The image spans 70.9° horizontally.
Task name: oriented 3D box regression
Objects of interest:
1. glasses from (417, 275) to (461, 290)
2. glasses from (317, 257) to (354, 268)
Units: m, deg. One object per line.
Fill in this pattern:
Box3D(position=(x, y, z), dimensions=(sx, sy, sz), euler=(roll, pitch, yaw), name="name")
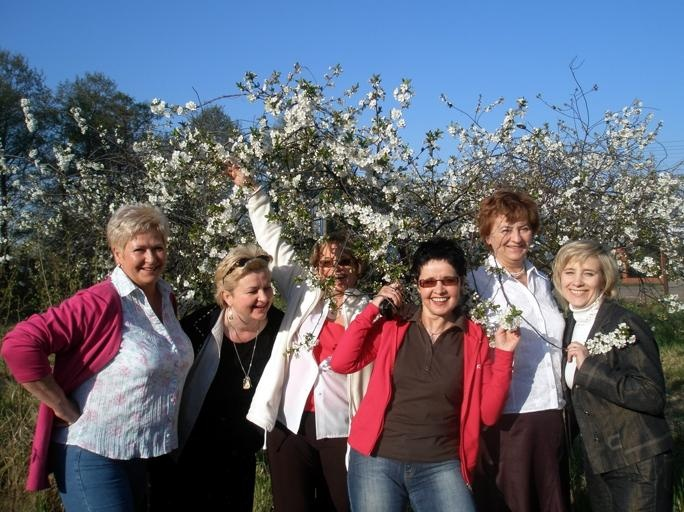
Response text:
Box3D(position=(0.647, 0.183, 3.208), dimensions=(0.258, 0.072, 0.053), euler=(-7, -12, 11), name="glasses")
Box3D(position=(-0.049, 0.057, 3.671), dimensions=(0.265, 0.075, 0.074), euler=(-5, -12, 1), name="glasses")
